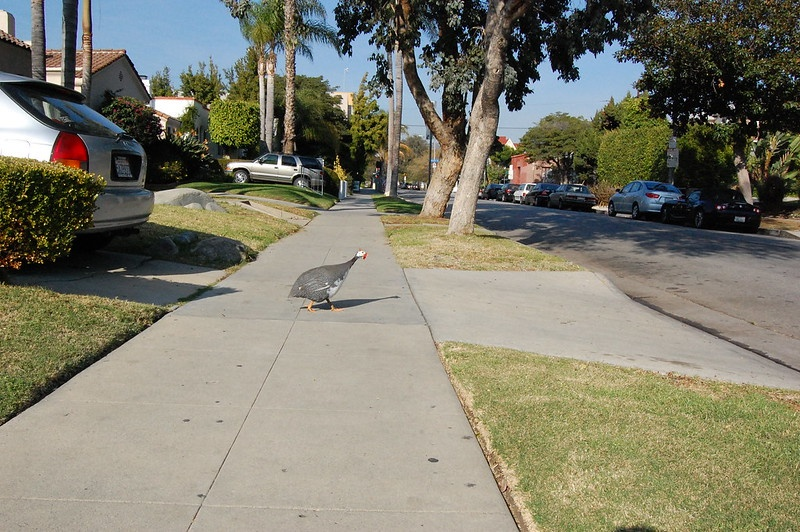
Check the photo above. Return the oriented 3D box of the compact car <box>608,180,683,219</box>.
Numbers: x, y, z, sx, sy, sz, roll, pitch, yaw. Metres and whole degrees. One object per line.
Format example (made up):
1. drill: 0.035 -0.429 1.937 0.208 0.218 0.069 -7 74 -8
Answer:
1. compact car: 11.897 -3.165 31.791 1.693 1.296 3.817 0 11 -9

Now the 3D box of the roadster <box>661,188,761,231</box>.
1. roadster: 12.588 -2.301 26.634 1.637 1.742 3.419 -2 13 -20

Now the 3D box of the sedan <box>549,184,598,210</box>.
1. sedan: 10.708 -4.208 41.176 1.413 1.022 3.120 0 15 -4

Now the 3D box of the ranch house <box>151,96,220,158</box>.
1. ranch house: -16.301 -10.328 48.373 3.999 4.289 8.232 1 12 -3
